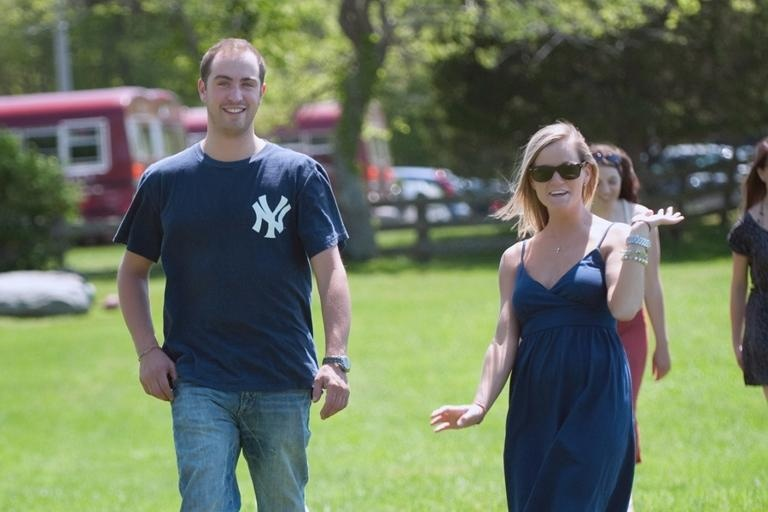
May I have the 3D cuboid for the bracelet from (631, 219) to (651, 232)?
[{"bbox_3d":[1.935,-0.231,8.394,0.097,0.111,0.091,-1,-3,-44],"label":"bracelet"}]

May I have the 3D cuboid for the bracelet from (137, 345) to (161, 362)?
[{"bbox_3d":[-1.781,0.726,8.373,0.120,0.036,0.128,-39,-5,31],"label":"bracelet"}]

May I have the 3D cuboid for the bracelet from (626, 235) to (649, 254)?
[{"bbox_3d":[1.893,-0.105,8.351,0.119,0.050,0.120,15,-9,37],"label":"bracelet"}]
